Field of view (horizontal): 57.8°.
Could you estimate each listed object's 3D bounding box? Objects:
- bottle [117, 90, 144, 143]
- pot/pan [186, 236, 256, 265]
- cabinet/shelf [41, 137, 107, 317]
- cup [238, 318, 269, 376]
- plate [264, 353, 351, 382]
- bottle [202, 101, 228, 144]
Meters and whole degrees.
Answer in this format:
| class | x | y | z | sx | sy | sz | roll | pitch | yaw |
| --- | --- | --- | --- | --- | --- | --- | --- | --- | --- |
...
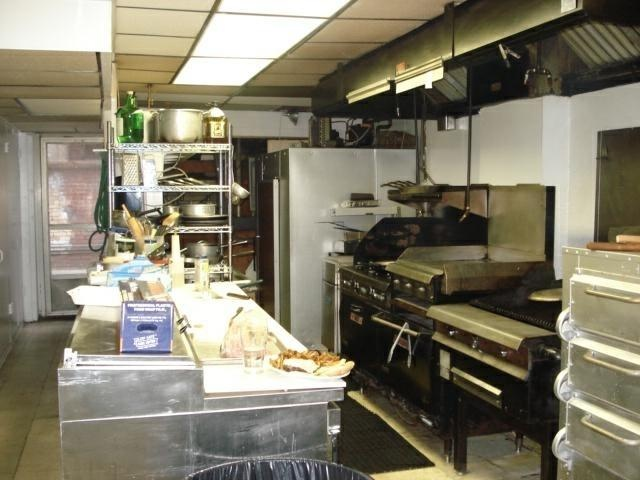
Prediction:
| class | x | y | z | sx | sy | sz | roll | pitch | yaw |
| --- | --- | --- | --- | --- | --- | --- | --- | --- | --- |
| bottle | -1.438 | -0.934 | 4.378 | 0.203 | 0.379 | 0.210 | -1 | 12 | 0 |
| pot/pan | -0.757 | 0.094 | 4.749 | 0.642 | 0.244 | 0.337 | 2 | -2 | -19 |
| cabinet/shelf | -3.164 | -0.182 | 7.369 | 0.835 | 2.228 | 0.427 | -6 | 13 | -20 |
| cup | -0.298 | 0.472 | 2.622 | 0.117 | 0.197 | 0.246 | -3 | 13 | -8 |
| plate | -0.051 | 0.545 | 2.552 | 0.387 | 0.074 | 0.216 | 0 | 12 | 4 |
| bottle | -0.828 | -0.922 | 4.564 | 0.196 | 0.297 | 0.217 | -4 | 13 | -10 |
